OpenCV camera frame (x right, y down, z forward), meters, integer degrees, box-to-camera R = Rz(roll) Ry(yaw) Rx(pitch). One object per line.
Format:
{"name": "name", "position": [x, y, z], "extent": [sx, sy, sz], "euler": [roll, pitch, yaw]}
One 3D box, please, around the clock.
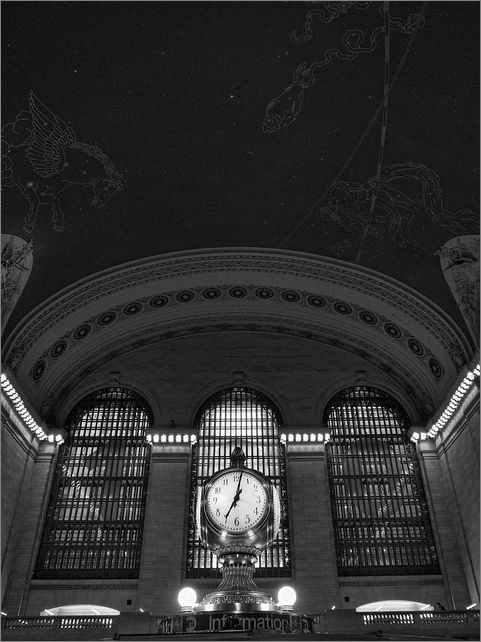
{"name": "clock", "position": [-0.029, 1.070, 3.316], "extent": [0.381, 0.053, 0.436], "euler": [2, -80, -1]}
